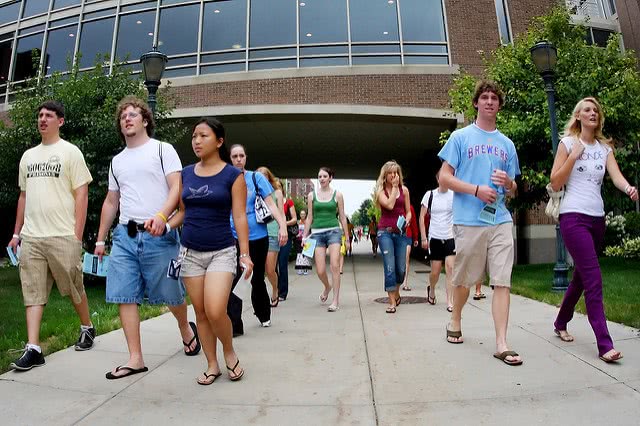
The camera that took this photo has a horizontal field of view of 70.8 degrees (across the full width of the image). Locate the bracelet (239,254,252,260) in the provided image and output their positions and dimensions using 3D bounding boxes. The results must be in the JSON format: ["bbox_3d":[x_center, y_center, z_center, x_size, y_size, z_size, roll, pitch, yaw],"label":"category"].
[{"bbox_3d":[-0.857,0.480,5.084,0.104,0.049,0.163,-2,5,-12],"label":"bracelet"}]

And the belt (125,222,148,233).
[{"bbox_3d":[-2.170,0.165,5.328,0.218,0.134,0.153,0,16,-43],"label":"belt"}]

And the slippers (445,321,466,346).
[{"bbox_3d":[1.872,1.672,6.236,0.275,0.183,0.687,-1,-1,6],"label":"slippers"}]

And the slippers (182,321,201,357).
[{"bbox_3d":[-1.699,1.734,6.003,0.211,0.578,0.138,-7,2,4],"label":"slippers"}]

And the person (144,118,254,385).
[{"bbox_3d":[-1.211,0.419,5.160,0.794,3.000,0.648,-1,4,-11],"label":"person"}]

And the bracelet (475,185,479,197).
[{"bbox_3d":[1.951,-0.272,5.604,0.026,0.099,0.102,14,4,19],"label":"bracelet"}]

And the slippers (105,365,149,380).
[{"bbox_3d":[-2.305,1.844,5.314,0.301,0.070,0.165,4,-7,-34],"label":"slippers"}]

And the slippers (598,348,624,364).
[{"bbox_3d":[3.455,1.684,5.327,0.111,0.111,0.276,-12,-8,8],"label":"slippers"}]

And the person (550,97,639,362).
[{"bbox_3d":[3.435,0.101,5.785,0.886,3.233,1.056,1,5,26],"label":"person"}]

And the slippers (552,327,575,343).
[{"bbox_3d":[3.320,1.652,6.110,0.103,0.082,0.272,-3,-4,0],"label":"slippers"}]

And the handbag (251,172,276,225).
[{"bbox_3d":[-0.908,-0.227,6.907,0.204,0.795,0.487,-4,6,-41],"label":"handbag"}]
